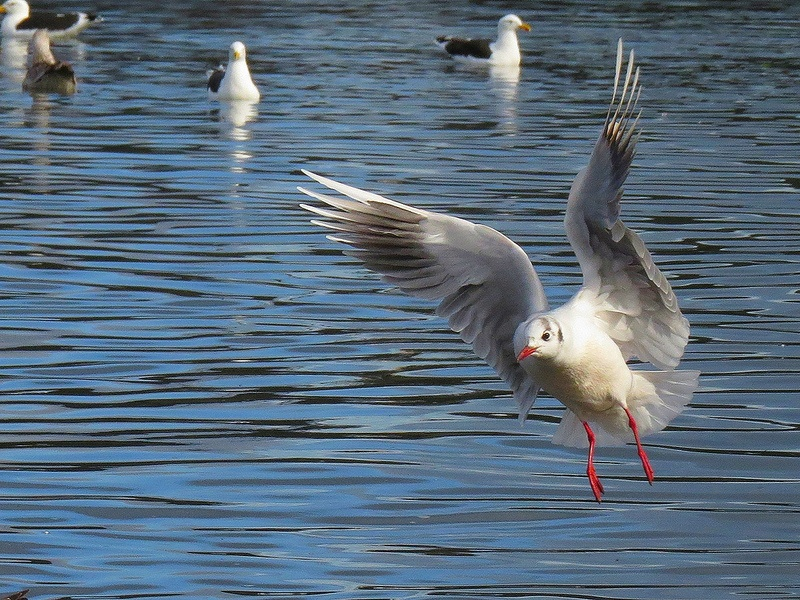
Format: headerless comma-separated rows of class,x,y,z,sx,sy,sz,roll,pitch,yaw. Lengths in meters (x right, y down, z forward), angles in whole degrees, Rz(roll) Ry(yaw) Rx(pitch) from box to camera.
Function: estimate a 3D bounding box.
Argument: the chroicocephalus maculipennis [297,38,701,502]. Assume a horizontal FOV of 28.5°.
chroicocephalus maculipennis,0.800,-0.163,9.257,2.080,2.954,1.067,19,33,27
